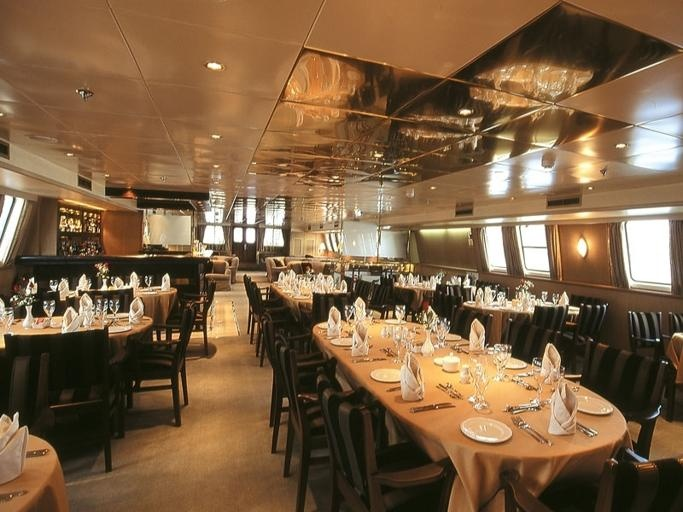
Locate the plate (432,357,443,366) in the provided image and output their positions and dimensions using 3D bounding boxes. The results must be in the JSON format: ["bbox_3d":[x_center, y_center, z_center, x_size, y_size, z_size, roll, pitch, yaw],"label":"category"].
[{"bbox_3d":[0.960,1.022,4.843,0.088,0.044,0.236,4,12,9],"label":"plate"}]

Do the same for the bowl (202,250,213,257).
[{"bbox_3d":[-5.438,-0.100,19.771,0.489,0.135,0.546,1,6,-12],"label":"bowl"}]

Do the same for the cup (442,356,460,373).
[{"bbox_3d":[1.042,1.026,4.646,0.124,0.129,0.129,1,-2,0],"label":"cup"}]

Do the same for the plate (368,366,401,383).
[{"bbox_3d":[0.397,1.086,4.476,0.268,0.039,0.260,3,12,6],"label":"plate"}]

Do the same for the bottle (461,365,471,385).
[{"bbox_3d":[1.104,1.074,4.437,0.109,0.173,0.119,1,-5,0],"label":"bottle"}]

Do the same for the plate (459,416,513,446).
[{"bbox_3d":[1.094,1.309,3.675,0.391,0.068,0.254,4,12,8],"label":"plate"}]

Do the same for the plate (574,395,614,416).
[{"bbox_3d":[2.066,1.221,4.016,0.333,0.059,0.242,0,12,-8],"label":"plate"}]
